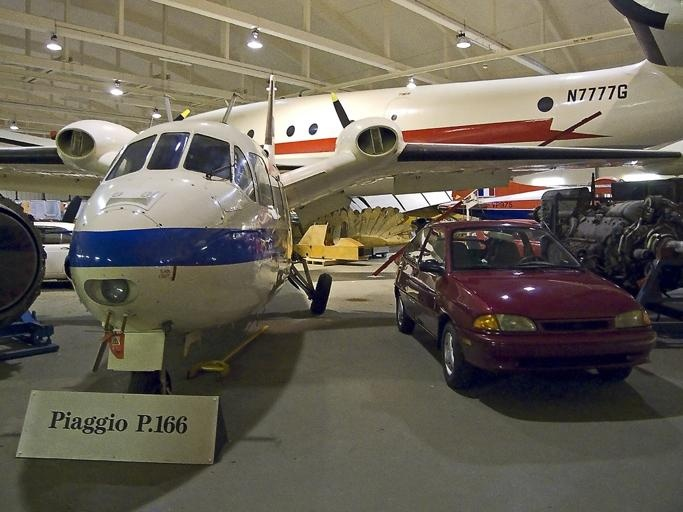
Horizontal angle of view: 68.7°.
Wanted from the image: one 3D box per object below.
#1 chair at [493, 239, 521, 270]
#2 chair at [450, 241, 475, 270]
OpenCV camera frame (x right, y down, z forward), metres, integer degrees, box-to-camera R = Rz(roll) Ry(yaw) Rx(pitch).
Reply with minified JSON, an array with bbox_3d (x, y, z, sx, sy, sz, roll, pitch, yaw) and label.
[{"bbox_3d":[1.843,-0.039,5.594,0.305,0.218,0.352,3,14,16],"label":"chair"},{"bbox_3d":[1.330,-0.017,5.499,0.240,0.215,0.574,3,13,14],"label":"chair"}]
